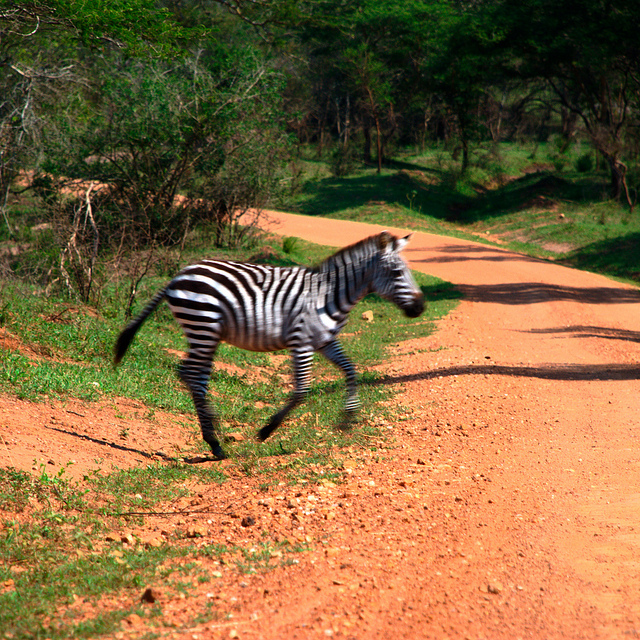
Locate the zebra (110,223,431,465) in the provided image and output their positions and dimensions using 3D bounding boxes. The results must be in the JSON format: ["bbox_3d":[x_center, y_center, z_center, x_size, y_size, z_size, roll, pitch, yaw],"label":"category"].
[{"bbox_3d":[-0.873,-0.118,13.091,3.668,2.911,4.834,2,12,-10],"label":"zebra"}]
